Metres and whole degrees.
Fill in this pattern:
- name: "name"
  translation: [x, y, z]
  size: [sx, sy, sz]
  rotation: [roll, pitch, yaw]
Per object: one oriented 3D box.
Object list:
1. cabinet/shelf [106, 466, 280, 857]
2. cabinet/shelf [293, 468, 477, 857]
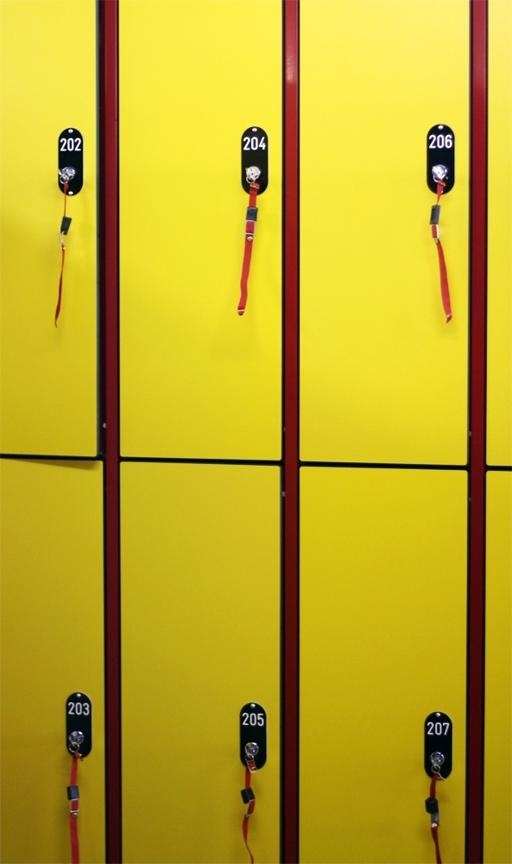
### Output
- name: "cabinet/shelf"
  translation: [-0.104, 0.427, 1.489]
  size: [0.290, 0.303, 0.643]
  rotation: [0, -65, -1]
- name: "cabinet/shelf"
  translation: [0.228, 0.425, 1.465]
  size: [0.293, 0.276, 0.620]
  rotation: [0, -66, -1]
